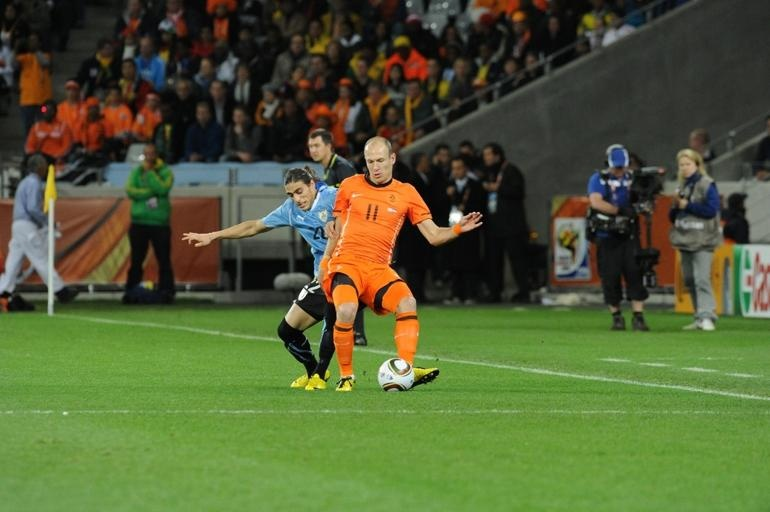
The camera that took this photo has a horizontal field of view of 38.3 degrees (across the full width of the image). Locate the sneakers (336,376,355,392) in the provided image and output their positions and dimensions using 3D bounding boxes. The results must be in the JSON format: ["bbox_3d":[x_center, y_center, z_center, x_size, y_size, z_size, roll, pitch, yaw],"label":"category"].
[{"bbox_3d":[-0.379,1.242,10.946,0.172,0.143,0.283,1,-5,-3],"label":"sneakers"}]

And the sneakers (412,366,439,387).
[{"bbox_3d":[0.380,1.152,10.898,0.344,0.113,0.145,-12,29,11],"label":"sneakers"}]

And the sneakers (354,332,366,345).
[{"bbox_3d":[-0.306,1.069,14.434,0.132,0.164,0.169,0,3,-4],"label":"sneakers"}]

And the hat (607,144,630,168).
[{"bbox_3d":[3.409,-1.428,16.149,0.288,0.334,0.469,0,-5,10],"label":"hat"}]

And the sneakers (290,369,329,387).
[{"bbox_3d":[-0.732,1.232,11.230,0.433,0.176,0.152,-9,-1,-17],"label":"sneakers"}]

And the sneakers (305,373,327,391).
[{"bbox_3d":[-0.671,1.242,11.001,0.118,0.099,0.214,-3,-10,8],"label":"sneakers"}]
